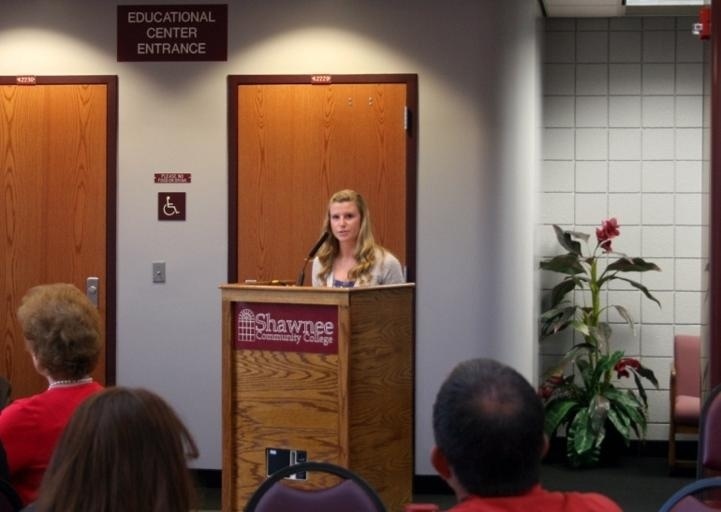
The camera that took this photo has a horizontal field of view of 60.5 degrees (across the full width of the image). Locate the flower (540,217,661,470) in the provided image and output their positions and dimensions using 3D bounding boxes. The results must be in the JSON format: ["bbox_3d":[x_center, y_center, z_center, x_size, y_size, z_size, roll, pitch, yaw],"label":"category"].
[{"bbox_3d":[1.843,0.677,4.742,0.790,1.736,0.990,-7,5,-38],"label":"flower"}]

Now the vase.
[{"bbox_3d":[1.743,1.343,4.622,0.383,0.328,0.452,0,-12,2],"label":"vase"}]

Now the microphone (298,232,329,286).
[{"bbox_3d":[-0.279,0.008,3.718,0.057,0.361,0.047,22,6,4],"label":"microphone"}]
